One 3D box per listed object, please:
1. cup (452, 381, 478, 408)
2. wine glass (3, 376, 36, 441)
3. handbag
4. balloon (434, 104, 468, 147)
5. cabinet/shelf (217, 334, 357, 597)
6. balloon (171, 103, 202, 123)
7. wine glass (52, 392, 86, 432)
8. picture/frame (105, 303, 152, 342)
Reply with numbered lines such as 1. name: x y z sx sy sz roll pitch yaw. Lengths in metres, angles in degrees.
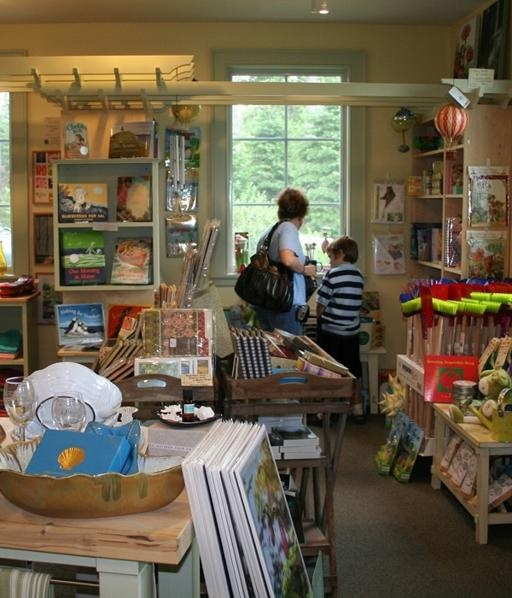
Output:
1. cup: 1.218 0.559 3.111 0.150 0.145 0.142 -1 6 0
2. wine glass: -0.615 0.283 1.379 0.067 0.164 0.254 -2 4 -25
3. handbag: 0.071 -0.121 3.938 0.500 0.462 0.256 14 -12 7
4. balloon: 1.291 -1.196 3.501 0.227 0.277 0.208 -1 21 5
5. cabinet/shelf: 0.142 0.726 2.729 0.631 1.157 1.193 0 4 2
6. balloon: -0.492 -1.280 3.720 0.179 0.112 0.169 -2 11 -6
7. wine glass: -0.416 0.262 1.232 0.084 0.083 0.079 0 -1 28
8. picture/frame: -0.771 0.149 3.181 0.284 0.213 0.037 -3 -16 10
